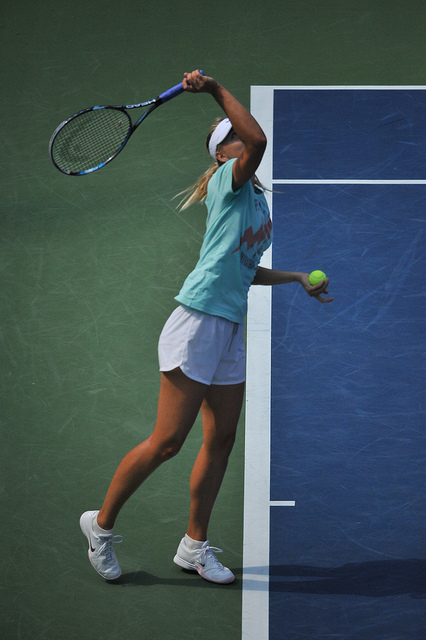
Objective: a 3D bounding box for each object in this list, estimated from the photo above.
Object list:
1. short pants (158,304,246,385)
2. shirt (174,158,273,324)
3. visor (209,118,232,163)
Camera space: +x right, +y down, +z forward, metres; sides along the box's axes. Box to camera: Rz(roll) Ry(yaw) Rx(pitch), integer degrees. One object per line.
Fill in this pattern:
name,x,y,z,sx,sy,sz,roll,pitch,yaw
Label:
short pants,-0.016,0.111,2.939,0.196,0.282,0.372,13,0,38
shirt,0.054,-0.321,2.927,0.262,0.513,0.333,11,4,16
visor,0.026,-0.732,2.962,0.044,0.133,0.102,31,37,11
